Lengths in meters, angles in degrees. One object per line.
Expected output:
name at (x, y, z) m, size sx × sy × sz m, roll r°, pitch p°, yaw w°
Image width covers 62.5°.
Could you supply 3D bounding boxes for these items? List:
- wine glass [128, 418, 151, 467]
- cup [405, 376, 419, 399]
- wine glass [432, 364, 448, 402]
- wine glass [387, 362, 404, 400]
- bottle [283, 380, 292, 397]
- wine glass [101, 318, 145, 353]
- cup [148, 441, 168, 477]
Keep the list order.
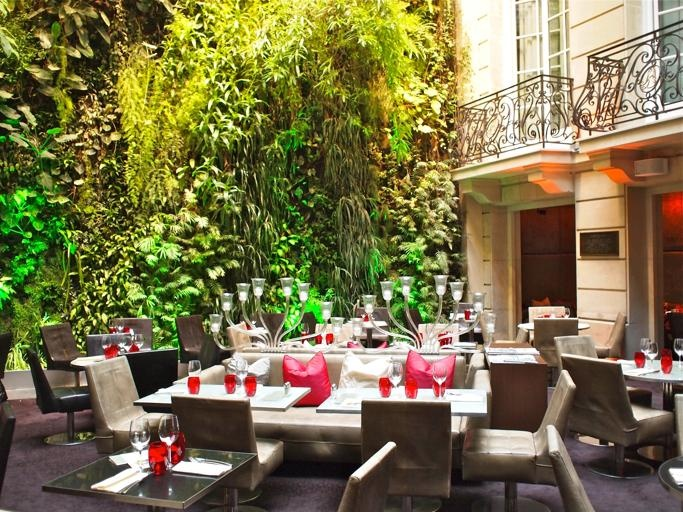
wine glass at (-1.298, 1.172, 3.620) m, size 0.107 × 0.345 × 0.352 m, roll -3°, pitch 0°, yaw -21°
cup at (0.555, 1.067, 4.517) m, size 0.093 × 0.157 × 0.207 m, roll -3°, pitch -1°, yaw 4°
wine glass at (0.811, 1.041, 4.680) m, size 0.098 × 0.242 × 0.288 m, roll -3°, pitch 0°, yaw 9°
wine glass at (0.446, 0.972, 4.604) m, size 0.096 × 0.219 × 0.262 m, roll -3°, pitch 0°, yaw 10°
bottle at (-0.478, 1.150, 4.929) m, size 0.077 × 0.158 × 0.099 m, roll -2°, pitch -3°, yaw -29°
wine glass at (-2.723, 0.992, 7.069) m, size 0.336 × 0.392 × 0.669 m, roll 0°, pitch -4°, yaw -5°
cup at (-1.165, 1.253, 3.515) m, size 0.139 × 0.223 × 0.090 m, roll -3°, pitch 0°, yaw 9°
